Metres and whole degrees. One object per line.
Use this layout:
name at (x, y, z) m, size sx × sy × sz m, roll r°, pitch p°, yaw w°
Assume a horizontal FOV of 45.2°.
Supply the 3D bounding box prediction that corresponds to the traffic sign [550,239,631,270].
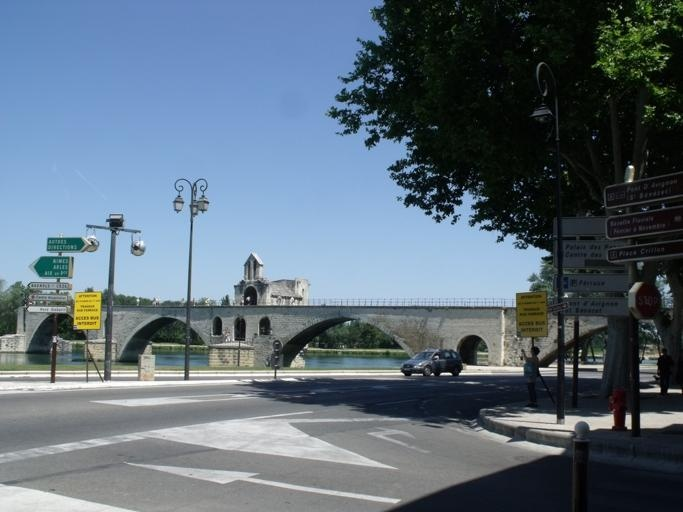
traffic sign at (7.117, -0.053, 24.360) m, size 1.381 × 1.380 × 0.433 m, roll 1°, pitch 9°, yaw 5°

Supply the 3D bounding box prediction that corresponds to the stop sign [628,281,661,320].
stop sign at (7.542, 1.100, 20.465) m, size 0.723 × 0.933 × 1.228 m, roll -3°, pitch -8°, yaw 25°

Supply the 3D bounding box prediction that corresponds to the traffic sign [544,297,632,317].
traffic sign at (7.200, 1.322, 23.890) m, size 1.584 × 0.821 × 2.282 m, roll 0°, pitch -8°, yaw 31°

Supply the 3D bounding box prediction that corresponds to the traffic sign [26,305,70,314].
traffic sign at (-10.979, 1.998, 30.782) m, size 1.379 × 0.387 × 1.107 m, roll 2°, pitch -8°, yaw -9°

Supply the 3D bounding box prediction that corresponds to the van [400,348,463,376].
van at (5.363, 6.206, 48.078) m, size 3.803 × 1.528 × 1.725 m, roll 6°, pitch -9°, yaw -36°
